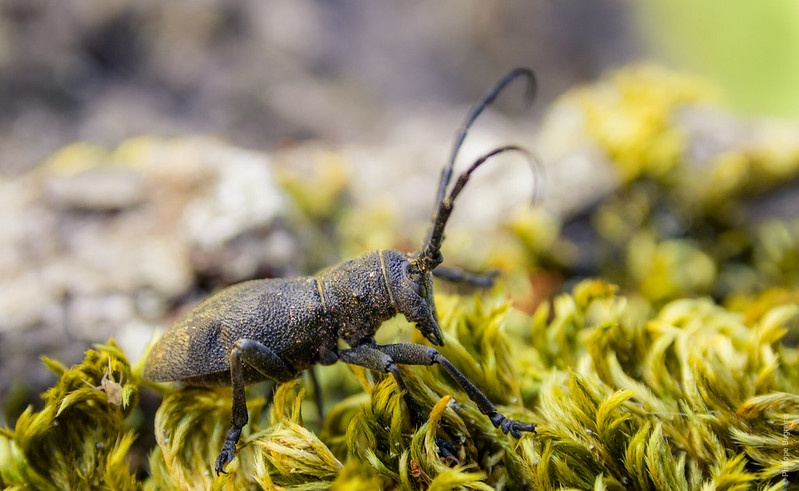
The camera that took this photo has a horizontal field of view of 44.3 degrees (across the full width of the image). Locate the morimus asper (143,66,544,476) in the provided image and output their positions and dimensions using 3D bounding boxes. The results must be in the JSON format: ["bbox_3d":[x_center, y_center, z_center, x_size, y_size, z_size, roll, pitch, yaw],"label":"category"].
[{"bbox_3d":[-0.192,0.001,4.415,1.609,1.216,1.306,-6,10,3],"label":"morimus asper"}]
